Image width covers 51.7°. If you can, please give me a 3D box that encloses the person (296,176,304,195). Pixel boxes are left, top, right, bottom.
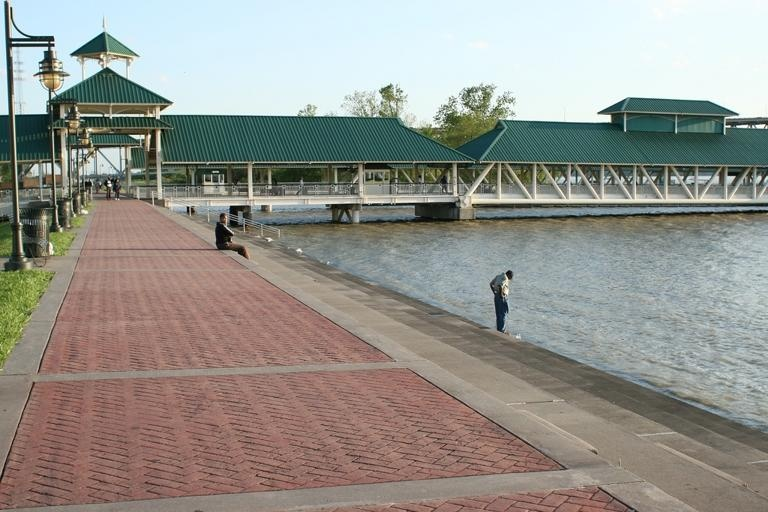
[{"bbox_3d":[-6.344,-5.037,59.409,0.561,1.067,0.792,2,6,10],"label":"person"}]

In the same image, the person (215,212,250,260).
[{"bbox_3d":[-5.022,-0.698,25.875,0.875,1.365,1.574,-1,6,-17],"label":"person"}]
